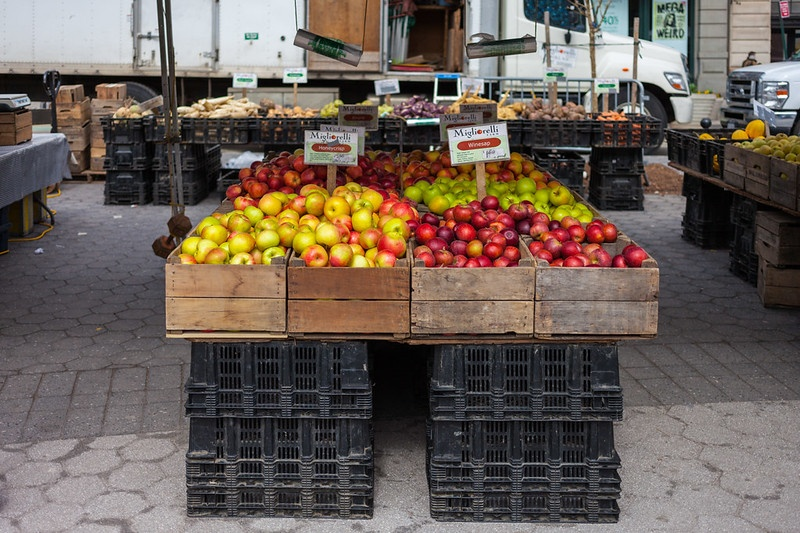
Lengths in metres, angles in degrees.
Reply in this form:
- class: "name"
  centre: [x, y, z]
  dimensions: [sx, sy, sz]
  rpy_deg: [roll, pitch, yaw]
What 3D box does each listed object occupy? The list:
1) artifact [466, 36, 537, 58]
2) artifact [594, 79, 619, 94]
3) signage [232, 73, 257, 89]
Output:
- class: "artifact"
  centre: [0.934, -2.049, 6.774]
  dimensions: [0.618, 0.177, 0.369]
  rpy_deg: [0, 21, 4]
- class: "artifact"
  centre: [3.145, -2.754, 11.156]
  dimensions: [0.350, 0.210, 0.262]
  rpy_deg: [-3, 25, -2]
- class: "signage"
  centre: [-2.350, -2.822, 11.006]
  dimensions: [0.382, 0.253, 0.400]
  rpy_deg: [1, 16, -3]
